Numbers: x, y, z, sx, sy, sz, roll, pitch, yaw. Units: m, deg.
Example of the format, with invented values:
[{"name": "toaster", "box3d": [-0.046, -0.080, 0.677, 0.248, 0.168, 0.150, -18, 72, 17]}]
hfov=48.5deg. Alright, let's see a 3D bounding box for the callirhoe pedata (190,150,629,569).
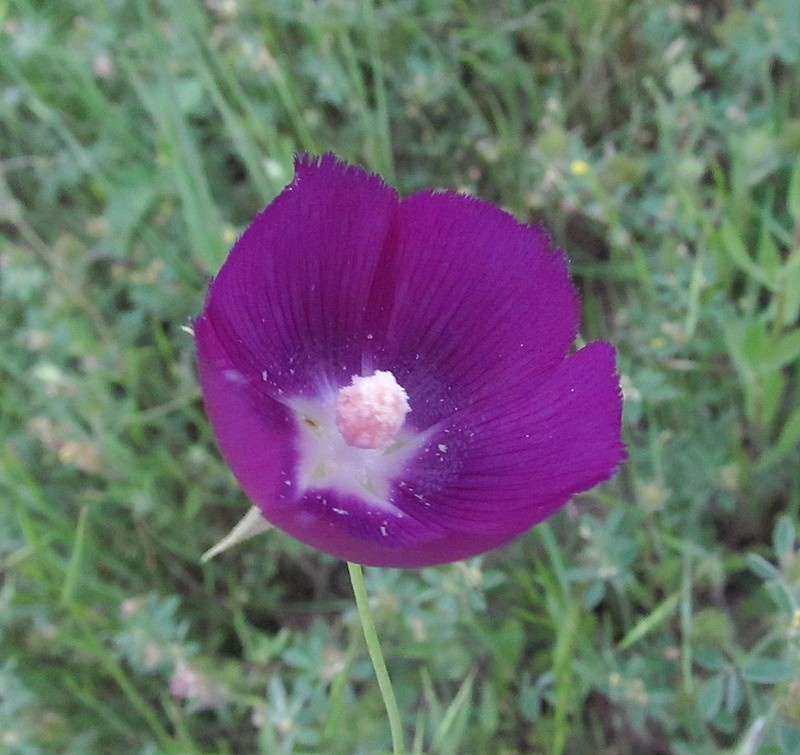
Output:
[{"name": "callirhoe pedata", "box3d": [0.004, -0.024, 0.751, 0.329, 0.163, 0.350, -19, 84, -4]}]
